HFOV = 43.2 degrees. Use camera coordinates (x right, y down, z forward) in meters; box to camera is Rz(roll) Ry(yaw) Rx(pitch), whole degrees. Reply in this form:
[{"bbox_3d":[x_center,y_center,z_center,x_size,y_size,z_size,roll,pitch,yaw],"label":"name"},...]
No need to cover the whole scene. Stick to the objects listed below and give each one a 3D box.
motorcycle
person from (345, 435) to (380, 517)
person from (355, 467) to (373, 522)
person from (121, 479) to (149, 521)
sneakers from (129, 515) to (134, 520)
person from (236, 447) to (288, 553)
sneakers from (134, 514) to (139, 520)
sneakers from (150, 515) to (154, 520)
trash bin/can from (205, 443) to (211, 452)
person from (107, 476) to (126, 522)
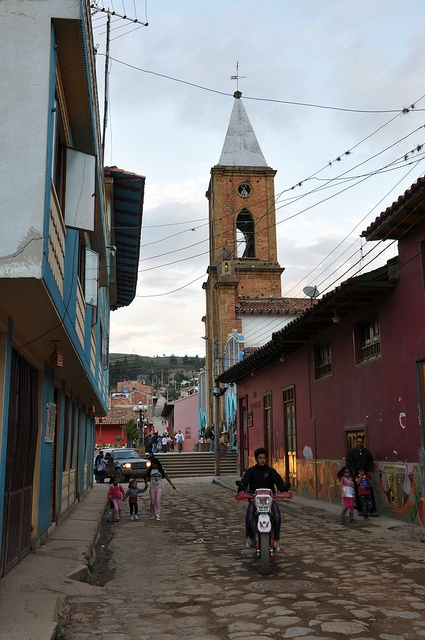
[{"bbox_3d":[0.622,2.545,6.552,0.471,0.784,1.169,-2,-24,3],"label":"motorcycle"},{"bbox_3d":[3.121,3.310,11.138,0.447,1.831,0.453,-5,3,24],"label":"person"},{"bbox_3d":[3.107,3.580,10.967,0.287,0.949,0.370,-4,-12,16],"label":"person"},{"bbox_3d":[-1.819,4.377,12.870,0.480,1.053,0.359,3,7,-4],"label":"person"},{"bbox_3d":[-1.887,4.726,12.669,0.092,0.151,0.198,0,-15,-2],"label":"sneakers"},{"bbox_3d":[0.647,2.410,7.493,0.585,0.929,1.325,-1,-17,2],"label":"person"},{"bbox_3d":[-1.769,4.695,12.632,0.119,0.151,0.078,-3,-6,36],"label":"sneakers"},{"bbox_3d":[-1.436,4.796,12.876,0.062,0.104,0.219,-1,-18,-1],"label":"sneakers"},{"bbox_3d":[-0.251,8.239,34.391,0.526,0.678,0.326,3,-12,-22],"label":"trash bin/can"},{"bbox_3d":[-2.284,4.301,12.801,0.360,1.051,0.291,-5,6,-30],"label":"person"}]
